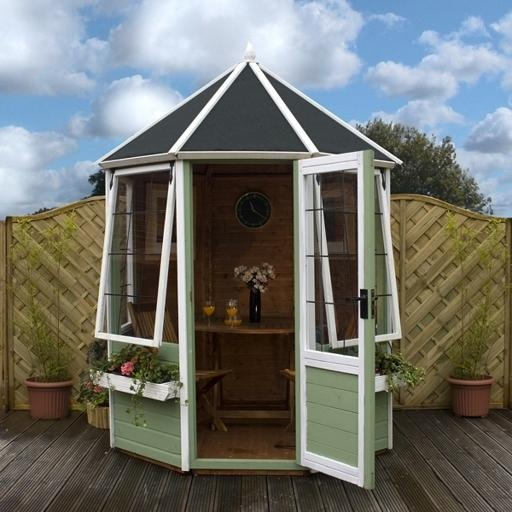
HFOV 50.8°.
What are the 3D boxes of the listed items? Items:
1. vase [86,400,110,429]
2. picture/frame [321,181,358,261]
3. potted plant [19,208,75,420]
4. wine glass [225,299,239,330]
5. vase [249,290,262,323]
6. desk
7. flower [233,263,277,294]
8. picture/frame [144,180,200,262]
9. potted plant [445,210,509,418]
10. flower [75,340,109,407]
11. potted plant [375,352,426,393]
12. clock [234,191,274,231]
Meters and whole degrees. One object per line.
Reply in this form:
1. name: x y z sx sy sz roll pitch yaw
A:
1. vase: -1.394 1.423 4.787 0.285 0.237 0.299 1 0 -16
2. picture/frame: 0.566 -0.267 3.518 0.325 0.684 0.029 5 12 39
3. potted plant: -2.015 0.566 5.093 0.604 1.909 0.407 -1 2 -10
4. wine glass: -0.195 0.502 4.516 0.170 0.274 0.181 0 -1 -3
5. vase: -0.007 0.443 4.731 0.091 0.295 0.088 0 2 -6
6. desk: -0.058 1.136 4.857 0.965 0.813 0.916 0 3 0
7. flower: -0.014 0.185 4.843 0.303 0.265 0.306 -1 4 -32
8. picture/frame: -0.637 -0.210 3.880 0.300 0.609 0.048 -2 25 -14
9. potted plant: 2.157 0.549 5.109 0.687 1.900 0.344 0 2 -7
10. flower: -1.347 0.984 4.557 0.201 0.494 0.241 -1 -3 -13
11. potted plant: 1.039 0.852 3.928 0.375 0.266 0.251 0 3 -3
12. clock: -0.015 -0.450 5.188 0.329 0.370 0.038 1 0 -3
